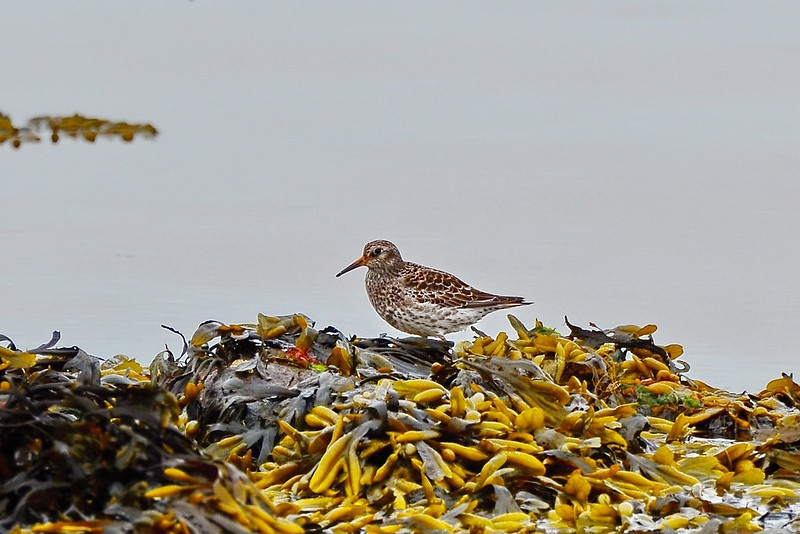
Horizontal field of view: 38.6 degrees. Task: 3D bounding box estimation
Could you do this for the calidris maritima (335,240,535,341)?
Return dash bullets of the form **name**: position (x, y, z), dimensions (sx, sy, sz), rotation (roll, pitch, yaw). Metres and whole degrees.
- **calidris maritima**: position (0.196, 0.175, 7.347), dimensions (1.322, 0.647, 0.392), rotation (0, 4, -23)
